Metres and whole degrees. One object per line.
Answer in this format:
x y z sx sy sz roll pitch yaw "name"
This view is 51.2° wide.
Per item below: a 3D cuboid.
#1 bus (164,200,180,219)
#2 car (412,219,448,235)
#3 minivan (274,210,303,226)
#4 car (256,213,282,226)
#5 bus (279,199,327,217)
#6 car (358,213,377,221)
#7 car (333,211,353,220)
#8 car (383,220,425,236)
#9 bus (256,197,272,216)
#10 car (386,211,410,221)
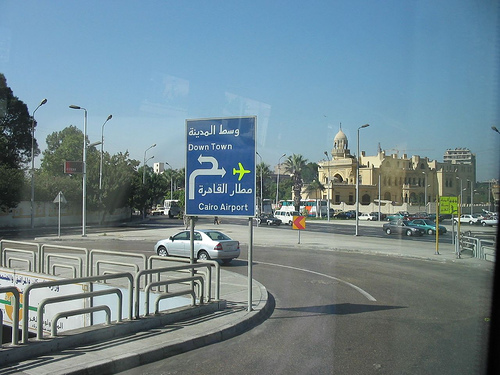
-13.043 3.598 87.274 3.178 3.927 6.251 0 -4 -18 "bus"
15.384 3.278 45.054 2.794 1.031 1.324 -2 -1 36 "car"
4.509 3.692 64.385 1.556 1.379 2.557 2 -3 -41 "minivan"
2.234 3.821 62.664 2.360 1.353 3.787 3 -3 -27 "car"
8.263 3.976 92.092 3.223 3.583 11.158 2 2 -32 "bus"
17.562 4.333 77.767 2.911 1.112 1.764 2 1 30 "car"
15.254 4.395 85.068 2.857 1.159 2.978 1 -3 10 "car"
12.869 3.426 44.167 2.838 1.055 1.267 -4 -5 44 "car"
2.145 2.825 77.418 2.573 2.962 5.205 0 -20 0 "bus"
19.621 3.729 69.367 3.161 1.209 1.606 0 0 28 "car"
